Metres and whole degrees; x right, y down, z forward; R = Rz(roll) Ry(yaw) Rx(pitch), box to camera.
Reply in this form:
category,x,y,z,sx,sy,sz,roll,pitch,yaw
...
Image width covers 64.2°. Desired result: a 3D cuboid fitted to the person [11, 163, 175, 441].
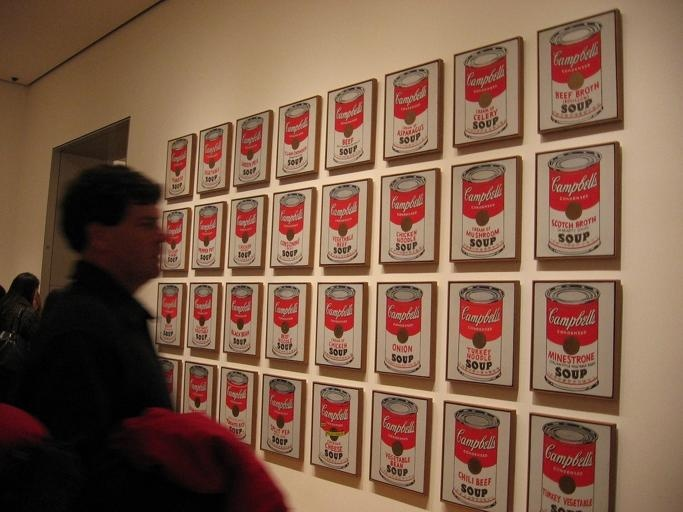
category,x,y,z,sx,sy,sz,roll,pitch,yaw
person,-0.678,0.083,1.549,0.387,0.751,0.427,1,-5,-18

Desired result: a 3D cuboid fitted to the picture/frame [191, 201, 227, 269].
category,x,y,z,sx,sy,sz,roll,pitch,yaw
picture/frame,-0.809,-0.122,3.357,0.403,0.569,0.059,-1,-4,43

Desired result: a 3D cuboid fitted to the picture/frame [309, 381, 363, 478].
category,x,y,z,sx,sy,sz,roll,pitch,yaw
picture/frame,-0.031,0.834,2.674,0.299,0.403,0.038,-4,-6,41

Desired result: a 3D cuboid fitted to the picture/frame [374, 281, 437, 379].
category,x,y,z,sx,sy,sz,roll,pitch,yaw
picture/frame,0.286,0.328,2.491,0.299,0.420,0.040,-3,-6,38

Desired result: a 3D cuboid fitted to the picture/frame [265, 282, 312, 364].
category,x,y,z,sx,sy,sz,roll,pitch,yaw
picture/frame,-0.295,0.346,2.915,0.289,0.408,0.052,-4,-6,43
